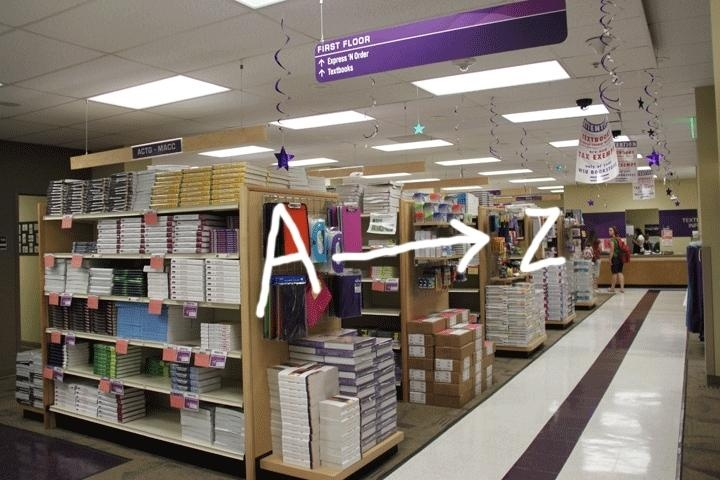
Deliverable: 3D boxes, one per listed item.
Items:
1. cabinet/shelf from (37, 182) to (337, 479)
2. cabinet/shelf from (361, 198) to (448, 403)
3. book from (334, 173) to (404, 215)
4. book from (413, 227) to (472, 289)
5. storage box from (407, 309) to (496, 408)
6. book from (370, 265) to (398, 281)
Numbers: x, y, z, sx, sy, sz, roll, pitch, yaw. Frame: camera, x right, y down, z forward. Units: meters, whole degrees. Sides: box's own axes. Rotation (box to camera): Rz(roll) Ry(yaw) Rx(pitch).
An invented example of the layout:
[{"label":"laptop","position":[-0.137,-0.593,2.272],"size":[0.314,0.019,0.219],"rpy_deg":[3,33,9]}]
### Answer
[{"label":"cabinet/shelf","position":[-1.913,1.071,5.829],"size":[3.513,2.608,1.238],"rpy_deg":[-1,-3,28]},{"label":"cabinet/shelf","position":[0.645,0.814,6.978],"size":[1.023,2.809,3.009],"rpy_deg":[-1,0,19]},{"label":"book","position":[0.243,-0.627,7.316],"size":[0.746,0.332,0.754],"rpy_deg":[2,2,38]},{"label":"book","position":[1.147,0.226,7.258],"size":[0.311,0.886,0.970],"rpy_deg":[-4,0,27]},{"label":"storage box","position":[1.334,1.655,7.534],"size":[1.046,1.243,1.931],"rpy_deg":[-1,0,29]},{"label":"book","position":[0.355,0.477,7.341],"size":[0.376,0.176,0.196],"rpy_deg":[0,3,25]}]
